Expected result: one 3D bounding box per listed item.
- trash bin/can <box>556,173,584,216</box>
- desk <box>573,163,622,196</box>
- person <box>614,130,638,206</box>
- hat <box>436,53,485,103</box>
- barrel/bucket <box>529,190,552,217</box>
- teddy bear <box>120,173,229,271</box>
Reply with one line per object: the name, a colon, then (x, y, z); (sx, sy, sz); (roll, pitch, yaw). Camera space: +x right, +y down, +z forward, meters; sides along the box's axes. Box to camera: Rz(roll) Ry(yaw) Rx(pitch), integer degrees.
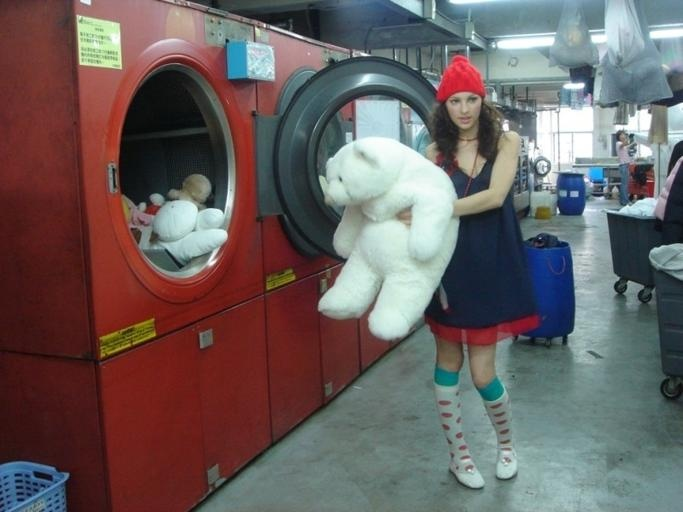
trash bin/can: (4.514, -1.227, 10.726); (0.477, 0.838, 0.306); (1, 12, 14)
desk: (6.491, -1.910, 13.723); (0.632, 0.890, 1.219); (1, 7, 26)
person: (6.095, -1.893, 11.754); (0.351, 1.612, 2.112); (4, 14, 27)
hat: (0.517, -0.774, 2.384); (0.160, 0.177, 0.208); (-4, 9, -2)
barrel/bucket: (3.903, -0.991, 10.555); (0.469, 0.583, 0.412); (-1, 7, 13)
teddy bear: (-0.752, -0.134, 2.485); (0.444, 0.495, 0.172); (-2, -29, 14)
